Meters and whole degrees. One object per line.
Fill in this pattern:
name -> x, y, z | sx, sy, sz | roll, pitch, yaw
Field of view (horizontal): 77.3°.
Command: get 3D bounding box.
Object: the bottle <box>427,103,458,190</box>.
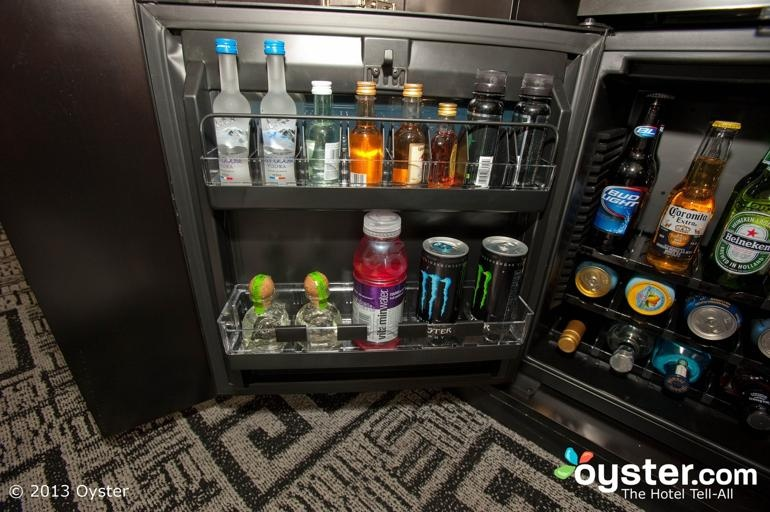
bottle -> 0.157, -0.296, 1.297 | 0.072, 0.210, 0.161 | 3, 23, 6

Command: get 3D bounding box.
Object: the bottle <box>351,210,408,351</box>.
bottle -> -0.016, 0.091, 1.396 | 0.162, 0.302, 0.223 | 1, 23, 2

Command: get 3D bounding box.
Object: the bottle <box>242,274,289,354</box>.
bottle -> -0.344, 0.162, 1.376 | 0.133, 0.224, 0.164 | -5, 23, -11

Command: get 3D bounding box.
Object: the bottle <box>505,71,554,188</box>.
bottle -> 0.376, -0.322, 1.269 | 0.103, 0.288, 0.139 | 7, 24, 16

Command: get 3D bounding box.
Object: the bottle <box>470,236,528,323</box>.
bottle -> 0.334, 0.071, 1.412 | 0.140, 0.240, 0.109 | -21, 31, -40

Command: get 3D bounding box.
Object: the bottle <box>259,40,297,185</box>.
bottle -> -0.271, -0.350, 1.206 | 0.097, 0.341, 0.163 | -5, 24, -10

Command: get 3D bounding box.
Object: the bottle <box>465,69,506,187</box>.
bottle -> 0.262, -0.331, 1.273 | 0.093, 0.290, 0.144 | 5, 24, 12

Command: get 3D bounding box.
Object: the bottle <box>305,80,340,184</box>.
bottle -> -0.163, -0.316, 1.252 | 0.092, 0.250, 0.160 | -2, 23, -4

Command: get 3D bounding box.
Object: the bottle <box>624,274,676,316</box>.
bottle -> 0.817, 0.121, 1.532 | 0.141, 0.118, 0.132 | -1, 10, 6

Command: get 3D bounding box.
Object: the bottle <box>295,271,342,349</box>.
bottle -> -0.193, 0.152, 1.386 | 0.132, 0.206, 0.194 | -4, 23, -10

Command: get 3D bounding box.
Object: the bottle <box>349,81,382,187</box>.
bottle -> -0.049, -0.313, 1.248 | 0.094, 0.253, 0.138 | -1, 23, -3

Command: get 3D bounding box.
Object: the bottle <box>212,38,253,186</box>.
bottle -> -0.385, -0.352, 1.204 | 0.091, 0.340, 0.149 | -6, 24, -14

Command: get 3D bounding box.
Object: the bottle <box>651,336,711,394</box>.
bottle -> 0.917, 0.341, 1.514 | 0.151, 0.117, 0.127 | 14, 26, 31

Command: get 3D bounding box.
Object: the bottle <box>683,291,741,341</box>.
bottle -> 0.971, 0.184, 1.459 | 0.140, 0.125, 0.152 | 2, 20, 30

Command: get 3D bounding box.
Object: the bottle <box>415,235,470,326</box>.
bottle -> 0.164, 0.072, 1.395 | 0.124, 0.226, 0.129 | 0, 23, 0

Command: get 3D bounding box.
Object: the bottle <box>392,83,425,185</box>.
bottle -> 0.065, -0.317, 1.274 | 0.087, 0.252, 0.157 | 1, 23, 4
